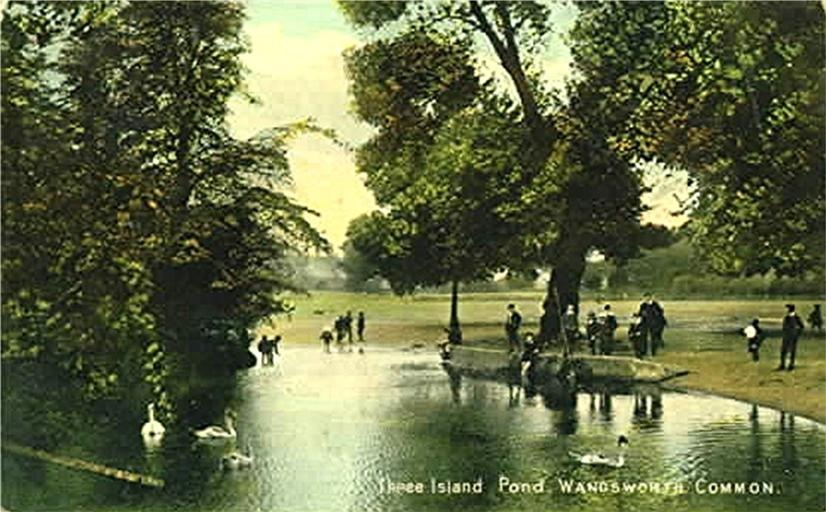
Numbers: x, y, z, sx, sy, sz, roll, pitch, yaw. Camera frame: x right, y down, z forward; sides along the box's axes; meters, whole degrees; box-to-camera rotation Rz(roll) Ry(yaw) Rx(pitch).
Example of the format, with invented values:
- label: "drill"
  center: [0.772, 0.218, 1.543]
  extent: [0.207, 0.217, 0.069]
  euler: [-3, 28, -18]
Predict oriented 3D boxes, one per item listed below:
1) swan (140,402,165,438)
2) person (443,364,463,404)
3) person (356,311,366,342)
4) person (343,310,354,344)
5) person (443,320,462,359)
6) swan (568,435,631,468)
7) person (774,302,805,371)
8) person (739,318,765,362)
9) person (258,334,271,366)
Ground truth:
- label: "swan"
  center: [-5.659, 3.606, 23.530]
  extent: [0.462, 0.729, 0.311]
  euler: [-2, -5, 21]
- label: "person"
  center: [0.898, 2.938, 24.711]
  extent: [0.401, 0.883, 1.026]
  euler: [0, -5, 2]
- label: "person"
  center: [-1.190, 1.609, 24.366]
  extent: [0.181, 0.679, 0.149]
  euler: [0, -4, -1]
- label: "person"
  center: [-1.450, 1.603, 24.303]
  extent: [0.168, 0.754, 0.280]
  euler: [1, -5, -5]
- label: "person"
  center: [0.908, 1.879, 24.986]
  extent: [0.414, 1.028, 0.285]
  euler: [2, 14, -38]
- label: "swan"
  center: [3.981, 4.250, 23.114]
  extent: [1.279, 0.637, 0.450]
  euler: [-6, -25, 26]
- label: "person"
  center: [8.491, 1.859, 24.338]
  extent: [0.524, 1.481, 0.653]
  euler: [0, -5, 4]
- label: "person"
  center: [7.629, 1.884, 24.097]
  extent: [0.377, 0.947, 0.635]
  euler: [-4, -6, 42]
- label: "person"
  center: [-3.316, 2.111, 23.949]
  extent: [0.291, 0.681, 0.115]
  euler: [2, -5, -16]
